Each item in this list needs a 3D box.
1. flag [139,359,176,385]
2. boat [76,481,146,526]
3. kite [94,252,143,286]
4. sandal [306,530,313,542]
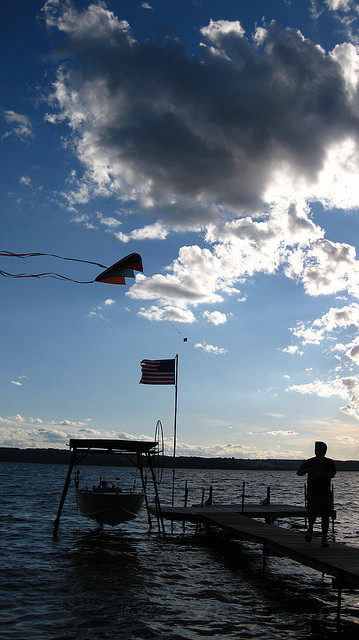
[{"bbox_3d":[-1.030,2.549,33.071,1.562,1.283,2.330,4,-6,-4],"label":"flag"},{"bbox_3d":[-3.430,8.930,31.840,3.222,2.341,6.640,3,-9,-12],"label":"boat"},{"bbox_3d":[-2.290,-1.993,26.353,1.571,1.382,1.717,4,-6,-5],"label":"kite"},{"bbox_3d":[3.692,6.098,18.885,0.161,0.528,0.205,-9,26,2],"label":"sandal"}]
